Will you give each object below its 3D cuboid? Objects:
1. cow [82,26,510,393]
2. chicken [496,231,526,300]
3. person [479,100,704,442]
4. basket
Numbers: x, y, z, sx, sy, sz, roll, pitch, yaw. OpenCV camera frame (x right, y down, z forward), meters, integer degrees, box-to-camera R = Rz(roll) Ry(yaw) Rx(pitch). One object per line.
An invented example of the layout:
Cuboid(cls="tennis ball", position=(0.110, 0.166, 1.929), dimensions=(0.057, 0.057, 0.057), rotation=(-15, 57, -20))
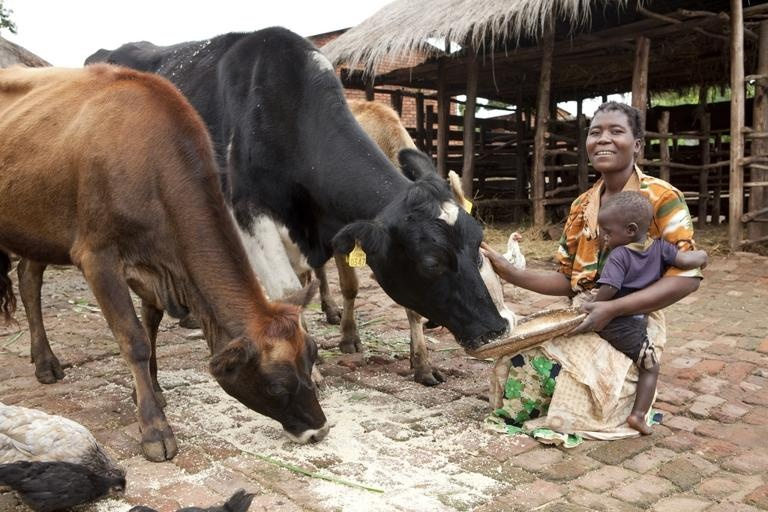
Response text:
Cuboid(cls="cow", position=(-0.868, -0.481, 6.035), dimensions=(1.558, 2.670, 5.755), rotation=(-10, 17, -34))
Cuboid(cls="chicken", position=(1.192, 0.015, 6.079), dimensions=(0.256, 0.471, 0.288), rotation=(0, 6, -6))
Cuboid(cls="person", position=(1.276, 0.148, 4.494), dimensions=(1.270, 2.359, 1.054), rotation=(-1, 2, -36))
Cuboid(cls="basket", position=(0.931, 0.526, 4.429), dimensions=(0.860, 0.145, 0.627), rotation=(-16, 3, 8))
